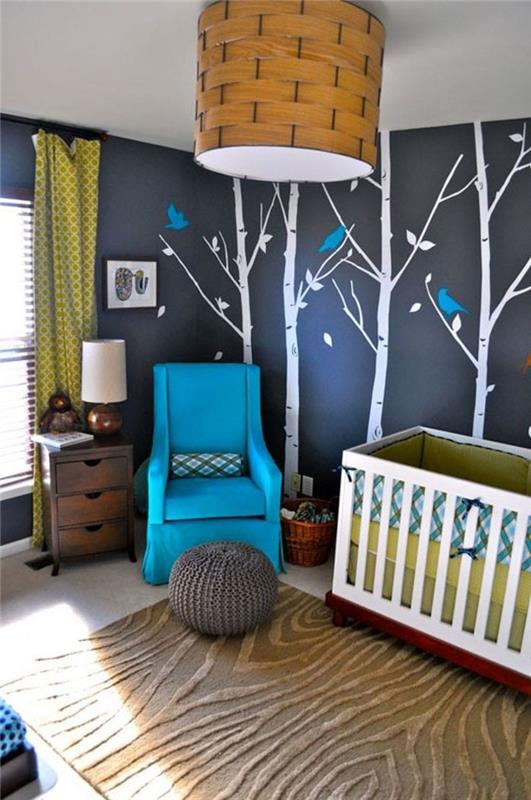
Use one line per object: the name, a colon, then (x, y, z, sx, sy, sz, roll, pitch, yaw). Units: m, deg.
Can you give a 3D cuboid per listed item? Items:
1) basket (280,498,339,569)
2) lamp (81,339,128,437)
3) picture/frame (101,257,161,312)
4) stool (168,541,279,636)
basket: (0.264, 0.737, 3.420, 0.322, 0.253, 0.319, 0, 3, -37)
lamp: (-0.912, -0.070, 3.295, 0.227, 0.530, 0.292, -2, 10, -29)
picture/frame: (-0.824, -0.717, 3.674, 0.057, 0.300, 0.398, 8, 10, 32)
stool: (-0.209, 0.787, 2.587, 0.384, 0.227, 0.391, 7, 11, 29)
